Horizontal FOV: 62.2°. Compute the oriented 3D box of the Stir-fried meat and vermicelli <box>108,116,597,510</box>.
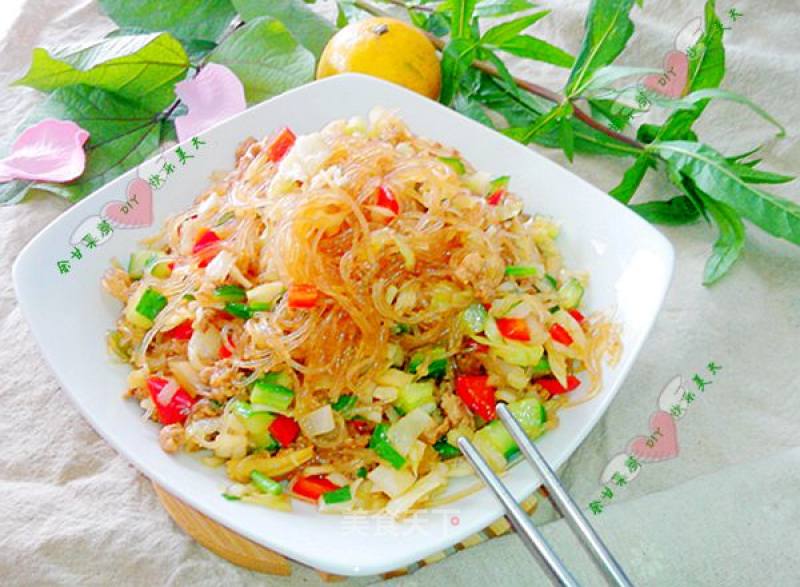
[{"bbox_3d":[-0.182,0.131,2.520,1.078,0.757,1.556,15,49,16],"label":"Stir-fried meat and vermicelli"}]

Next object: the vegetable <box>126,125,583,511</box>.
[{"bbox_3d":[-0.182,0.103,2.582,1.785,0.469,1.442,-6,80,0],"label":"vegetable"}]

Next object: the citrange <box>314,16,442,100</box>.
[{"bbox_3d":[-0.021,-1.120,3.342,0.442,0.431,0.430,-18,37,23],"label":"citrange"}]
